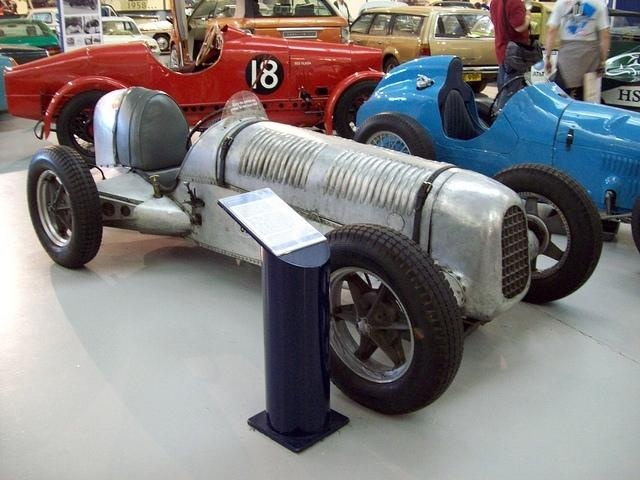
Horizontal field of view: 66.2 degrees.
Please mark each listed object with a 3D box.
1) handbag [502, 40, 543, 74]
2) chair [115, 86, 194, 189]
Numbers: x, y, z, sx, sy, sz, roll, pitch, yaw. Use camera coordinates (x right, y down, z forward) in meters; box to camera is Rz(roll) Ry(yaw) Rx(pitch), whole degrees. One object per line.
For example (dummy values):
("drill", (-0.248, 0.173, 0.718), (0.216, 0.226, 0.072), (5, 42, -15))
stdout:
("handbag", (2.039, -1.844, 4.973), (0.351, 0.312, 0.247), (6, 21, 17))
("chair", (-1.199, -0.771, 3.479), (0.523, 0.546, 0.313), (-4, 20, -10))
